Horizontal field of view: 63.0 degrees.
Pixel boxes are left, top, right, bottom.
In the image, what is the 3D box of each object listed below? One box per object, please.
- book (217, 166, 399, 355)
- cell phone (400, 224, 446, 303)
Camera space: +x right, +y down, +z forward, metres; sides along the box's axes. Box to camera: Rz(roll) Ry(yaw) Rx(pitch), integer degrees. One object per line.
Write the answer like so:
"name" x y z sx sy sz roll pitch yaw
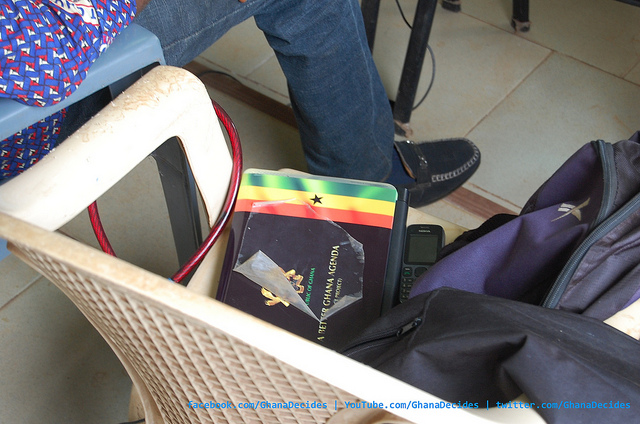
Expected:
"book" -0.013 0.072 0.889 0.267 0.069 0.297 12 73 7
"cell phone" 0.194 0.103 1.005 0.078 0.216 0.024 1 36 5
